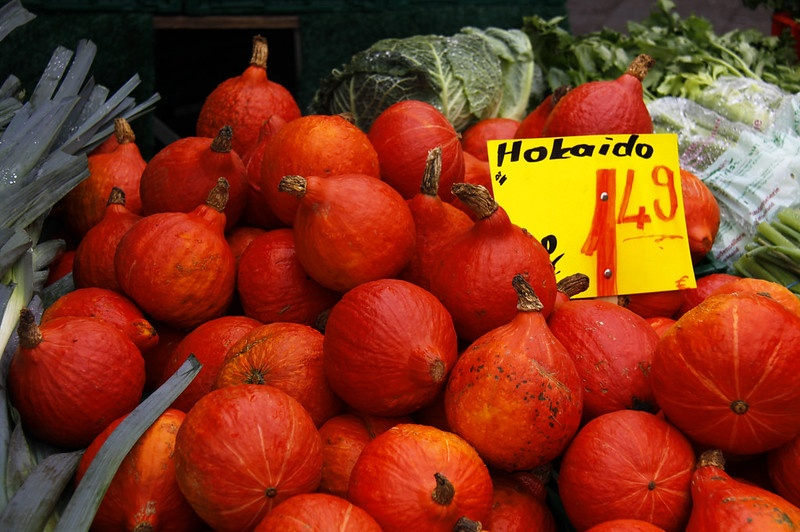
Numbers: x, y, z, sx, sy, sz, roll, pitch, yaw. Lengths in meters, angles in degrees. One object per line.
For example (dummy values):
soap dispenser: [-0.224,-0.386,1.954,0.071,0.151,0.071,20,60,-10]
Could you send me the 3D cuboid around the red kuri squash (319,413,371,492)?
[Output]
red kuri squash: [-0.144,0.468,1.744,0.140,0.145,0.149,16,33,12]
